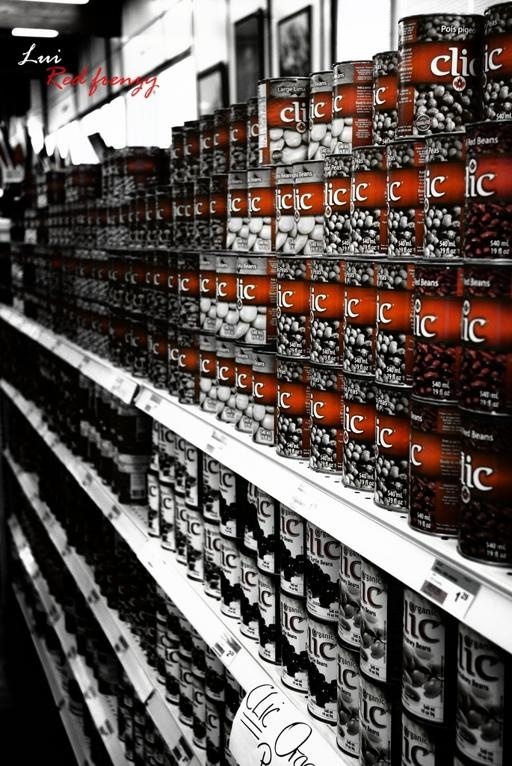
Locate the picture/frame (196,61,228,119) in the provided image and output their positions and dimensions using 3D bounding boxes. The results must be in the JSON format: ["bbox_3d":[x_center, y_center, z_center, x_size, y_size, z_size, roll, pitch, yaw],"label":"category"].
[{"bbox_3d":[-0.233,-1.499,3.427,0.043,0.221,0.423,-6,14,-22],"label":"picture/frame"}]
